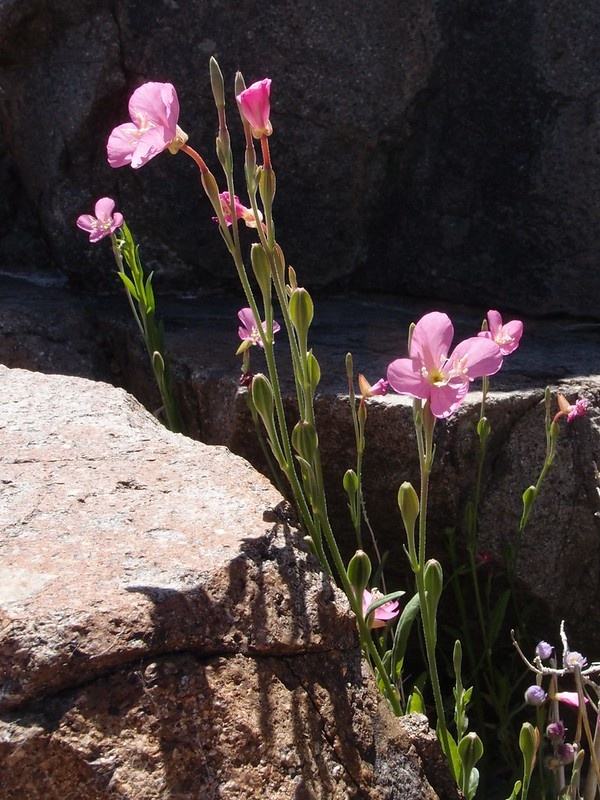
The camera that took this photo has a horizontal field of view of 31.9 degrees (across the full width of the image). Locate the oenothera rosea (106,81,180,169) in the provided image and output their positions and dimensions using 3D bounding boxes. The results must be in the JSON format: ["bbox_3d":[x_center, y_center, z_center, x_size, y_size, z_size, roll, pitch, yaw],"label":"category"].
[{"bbox_3d":[-0.223,-0.392,1.512,0.090,0.125,0.123,-9,28,-18],"label":"oenothera rosea"}]

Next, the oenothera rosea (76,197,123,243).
[{"bbox_3d":[-0.509,-0.454,2.662,0.097,0.122,0.251,-6,26,-13],"label":"oenothera rosea"}]
